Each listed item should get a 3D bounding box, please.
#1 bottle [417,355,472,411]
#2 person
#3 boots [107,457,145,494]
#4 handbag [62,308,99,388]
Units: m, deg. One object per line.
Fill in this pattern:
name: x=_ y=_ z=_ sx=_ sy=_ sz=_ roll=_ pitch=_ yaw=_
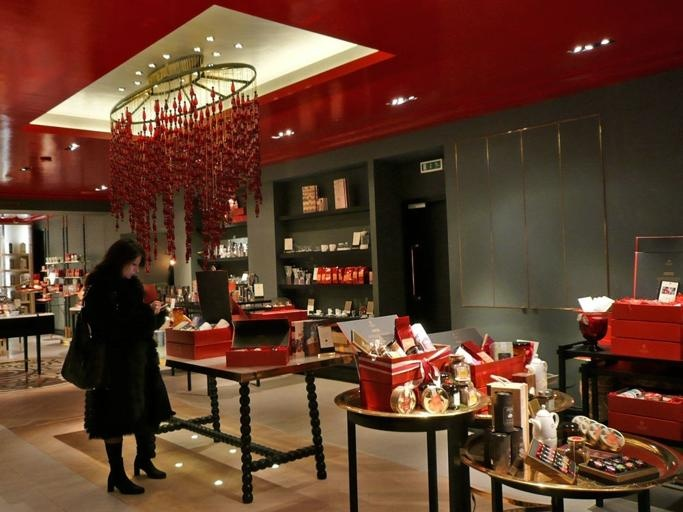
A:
bottle: x=0.597 y=0.728 z=3.169 sx=0.318 sy=0.295 sz=0.235 roll=-2 pitch=-7 yaw=-27
person: x=-1.709 y=0.869 z=4.276 sx=0.653 sy=2.047 sz=0.388 roll=-1 pitch=0 yaw=-32
boots: x=-1.698 y=1.760 z=4.245 sx=0.332 sy=0.251 sz=0.132 roll=1 pitch=-2 yaw=14
handbag: x=-1.988 y=0.731 z=4.047 sx=0.216 sy=0.639 sz=0.313 roll=-1 pitch=1 yaw=-40
